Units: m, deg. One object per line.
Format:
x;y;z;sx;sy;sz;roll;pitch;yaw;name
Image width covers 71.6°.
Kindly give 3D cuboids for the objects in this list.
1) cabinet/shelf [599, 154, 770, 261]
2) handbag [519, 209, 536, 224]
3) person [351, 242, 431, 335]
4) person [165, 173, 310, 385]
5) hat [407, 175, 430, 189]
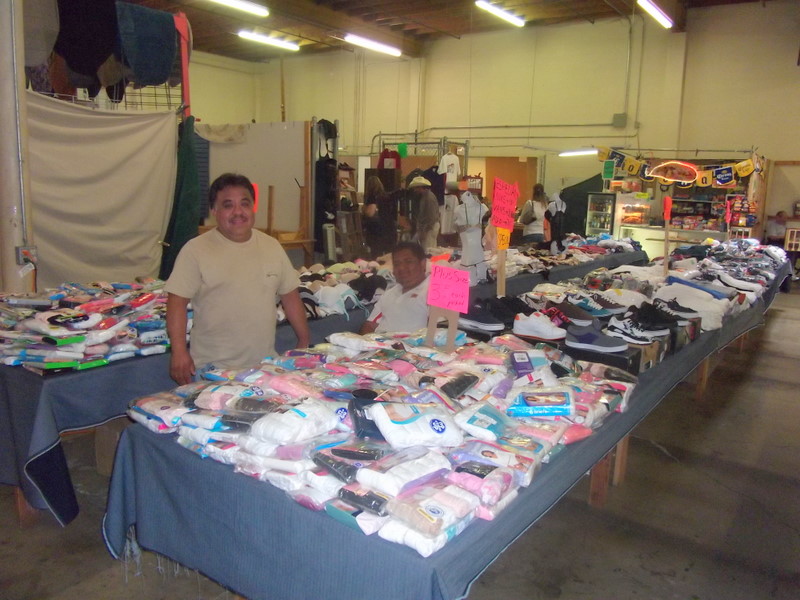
5.682;-2.190;11.312;2.795;2.536;1.546;5;44;28;cabinet/shelf
2.079;-1.378;9.155;0.212;0.214;0.209;-13;22;-36;handbag
0.073;-0.036;3.380;0.402;0.606;0.712;4;1;-35;person
-0.798;-0.123;2.774;0.724;0.986;0.348;-5;16;-25;person
0.286;-1.754;8.242;0.413;0.166;0.520;1;3;-2;hat
